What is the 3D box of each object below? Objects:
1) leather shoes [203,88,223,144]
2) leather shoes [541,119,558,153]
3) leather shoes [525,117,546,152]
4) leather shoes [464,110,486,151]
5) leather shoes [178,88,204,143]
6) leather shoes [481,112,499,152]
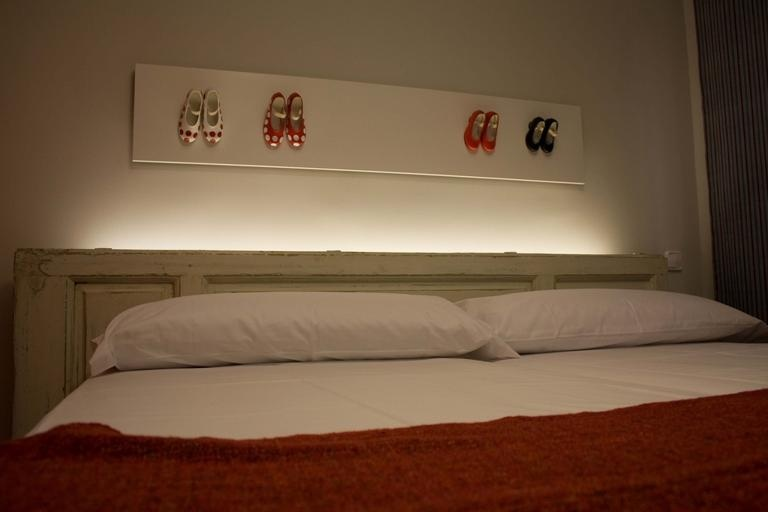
[{"bbox_3d":[-0.881,-0.718,2.702,0.093,0.268,0.062,-5,13,-12],"label":"leather shoes"},{"bbox_3d":[0.983,-0.709,3.115,0.082,0.228,0.089,0,18,-11],"label":"leather shoes"},{"bbox_3d":[0.894,-0.712,3.105,0.101,0.210,0.064,2,15,-13],"label":"leather shoes"},{"bbox_3d":[0.513,-0.713,3.044,0.111,0.239,0.081,7,6,-21],"label":"leather shoes"},{"bbox_3d":[-0.991,-0.695,2.690,0.103,0.295,0.073,3,6,-19],"label":"leather shoes"},{"bbox_3d":[0.614,-0.713,3.025,0.095,0.229,0.076,-2,12,-16],"label":"leather shoes"}]
